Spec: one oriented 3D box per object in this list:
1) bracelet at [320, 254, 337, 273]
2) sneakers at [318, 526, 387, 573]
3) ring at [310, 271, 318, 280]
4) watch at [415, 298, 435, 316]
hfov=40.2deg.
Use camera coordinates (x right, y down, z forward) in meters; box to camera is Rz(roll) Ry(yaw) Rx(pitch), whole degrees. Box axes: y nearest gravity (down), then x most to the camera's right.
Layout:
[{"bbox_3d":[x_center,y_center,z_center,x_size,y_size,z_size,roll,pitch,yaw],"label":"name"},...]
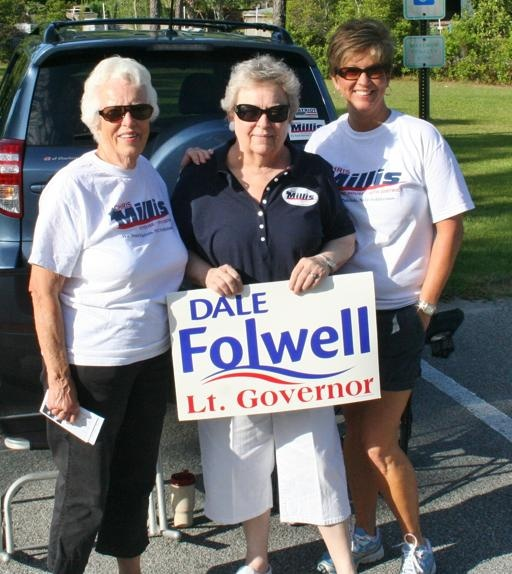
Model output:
[{"bbox_3d":[0.249,-0.086,2.497,0.056,0.064,0.071,3,17,17],"label":"bracelet"},{"bbox_3d":[0.407,1.060,2.930,0.342,0.130,0.118,-8,15,-35],"label":"sneakers"},{"bbox_3d":[0.199,-0.046,2.434,0.039,0.029,0.010,0,4,-9],"label":"ring"},{"bbox_3d":[0.630,0.070,2.611,0.075,0.039,0.069,28,-4,-6],"label":"watch"}]
